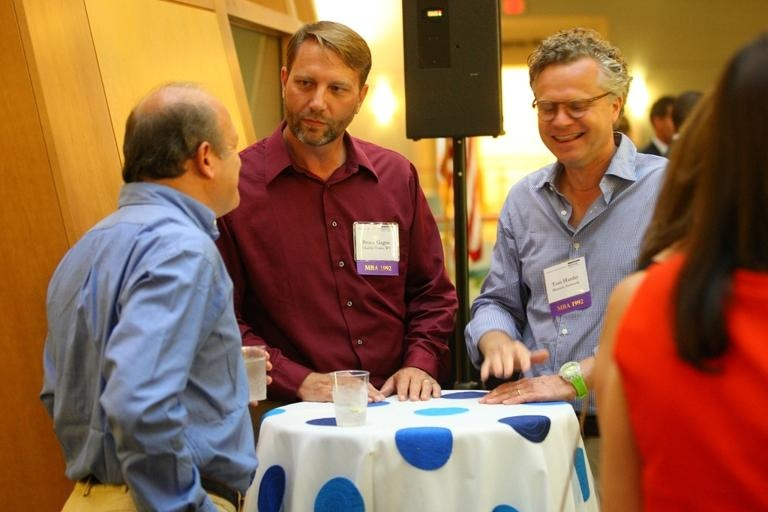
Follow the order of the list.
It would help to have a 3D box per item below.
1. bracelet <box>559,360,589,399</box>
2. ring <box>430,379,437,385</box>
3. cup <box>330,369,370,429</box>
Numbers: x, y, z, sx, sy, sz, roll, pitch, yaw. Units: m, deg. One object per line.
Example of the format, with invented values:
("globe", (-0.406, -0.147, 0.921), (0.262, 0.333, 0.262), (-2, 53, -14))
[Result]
("bracelet", (0.662, 0.430, 2.306), (0.055, 0.088, 0.085), (-33, 19, 5))
("ring", (0.186, 0.473, 2.496), (0.013, 0.019, 0.010), (-5, -18, -11))
("cup", (-0.100, 0.431, 2.014), (0.130, 0.168, 0.138), (0, -6, 0))
